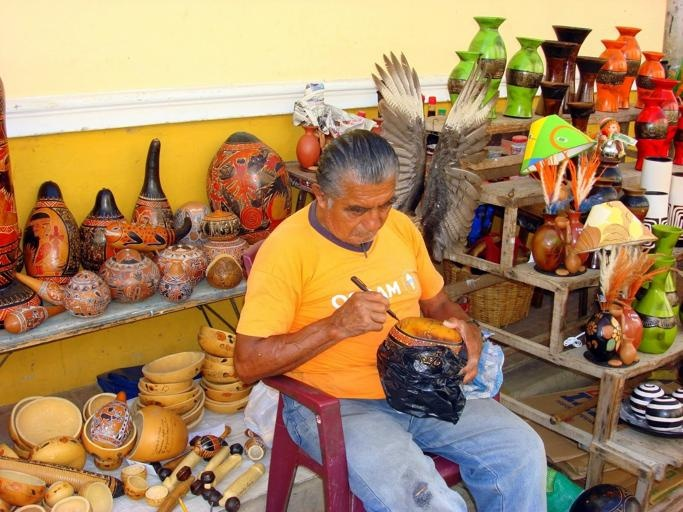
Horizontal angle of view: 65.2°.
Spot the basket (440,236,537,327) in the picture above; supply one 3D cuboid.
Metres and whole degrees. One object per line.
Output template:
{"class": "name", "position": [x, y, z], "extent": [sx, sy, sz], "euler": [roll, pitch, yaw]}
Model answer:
{"class": "basket", "position": [1.025, 0.192, 3.972], "extent": [0.660, 0.434, 0.609], "euler": [10, 16, 37]}

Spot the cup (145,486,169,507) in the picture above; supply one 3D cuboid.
{"class": "cup", "position": [-0.840, 1.101, 2.441], "extent": [0.103, 0.074, 0.079], "euler": [-11, 20, -22]}

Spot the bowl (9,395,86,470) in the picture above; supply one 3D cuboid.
{"class": "bowl", "position": [-1.397, 0.856, 2.559], "extent": [0.311, 0.235, 0.460], "euler": [-15, 21, -30]}

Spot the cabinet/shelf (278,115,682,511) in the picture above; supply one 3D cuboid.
{"class": "cabinet/shelf", "position": [0.818, 0.631, 3.267], "extent": [2.148, 0.548, 2.120], "euler": [27, 48, 21]}

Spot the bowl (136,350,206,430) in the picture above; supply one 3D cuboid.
{"class": "bowl", "position": [-0.919, 0.670, 2.946], "extent": [0.377, 0.345, 0.378], "euler": [1, 4, 0]}

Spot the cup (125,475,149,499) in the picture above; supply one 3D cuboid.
{"class": "cup", "position": [-0.948, 1.073, 2.480], "extent": [0.126, 0.092, 0.077], "euler": [-2, 18, 5]}

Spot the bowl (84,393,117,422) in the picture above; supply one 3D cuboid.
{"class": "bowl", "position": [-1.259, 0.784, 2.812], "extent": [0.152, 0.070, 0.170], "euler": [12, 40, -2]}

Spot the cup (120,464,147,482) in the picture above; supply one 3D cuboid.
{"class": "cup", "position": [-0.988, 1.018, 2.538], "extent": [0.084, 0.053, 0.088], "euler": [2, 2, 0]}
